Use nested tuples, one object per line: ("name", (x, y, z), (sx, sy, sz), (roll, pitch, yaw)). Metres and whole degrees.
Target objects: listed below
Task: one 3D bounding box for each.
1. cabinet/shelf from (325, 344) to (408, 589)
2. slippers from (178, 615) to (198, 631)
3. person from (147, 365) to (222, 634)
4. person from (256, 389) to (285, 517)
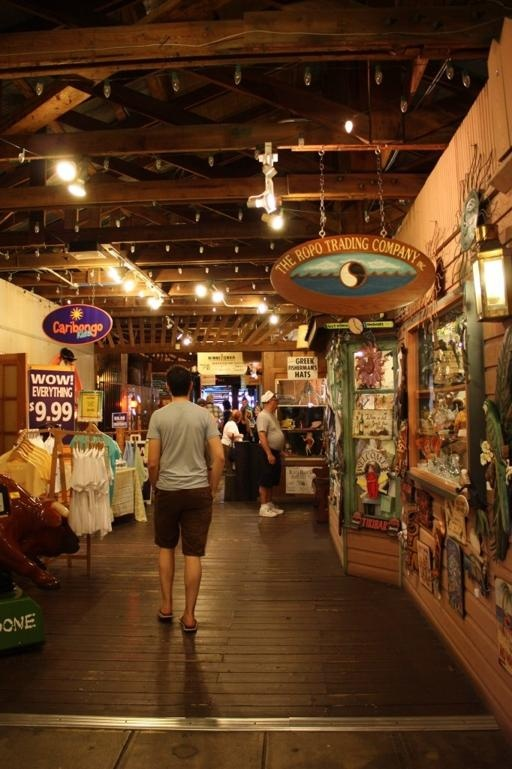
("cabinet/shelf", (0.904, 0.655, 4.347), (0.499, 1.852, 1.758), (0, -5, 4))
("slippers", (-0.411, 1.426, 3.234), (0.081, 0.089, 0.216), (1, -13, -3))
("person", (-0.444, 0.705, 3.390), (0.471, 1.627, 0.510), (0, 1, -12))
("person", (0.189, 0.981, 7.511), (0.372, 1.688, 0.696), (0, 1, 2))
